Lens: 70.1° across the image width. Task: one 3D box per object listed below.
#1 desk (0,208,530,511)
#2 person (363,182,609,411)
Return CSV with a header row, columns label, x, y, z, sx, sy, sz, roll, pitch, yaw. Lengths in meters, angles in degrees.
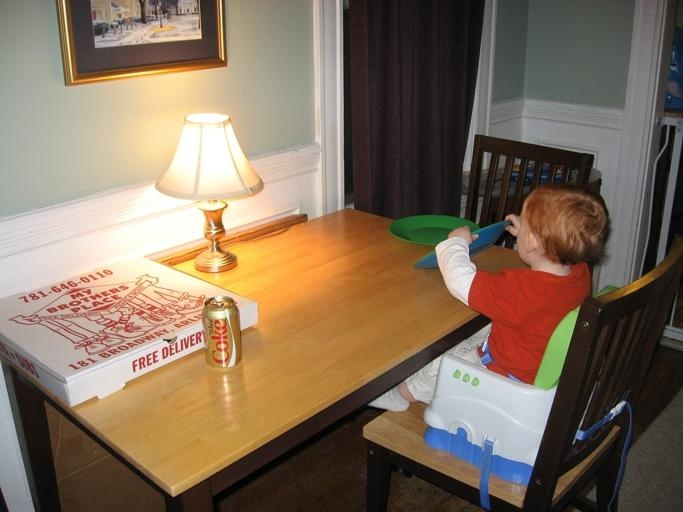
label,x,y,z,sx,sy,sz,roll,pitch,yaw
desk,-0.252,0.294,1.420,0.518,0.487,0.944,20,32,34
person,0.485,-0.008,1.680,0.579,0.864,0.735,-23,34,-34
